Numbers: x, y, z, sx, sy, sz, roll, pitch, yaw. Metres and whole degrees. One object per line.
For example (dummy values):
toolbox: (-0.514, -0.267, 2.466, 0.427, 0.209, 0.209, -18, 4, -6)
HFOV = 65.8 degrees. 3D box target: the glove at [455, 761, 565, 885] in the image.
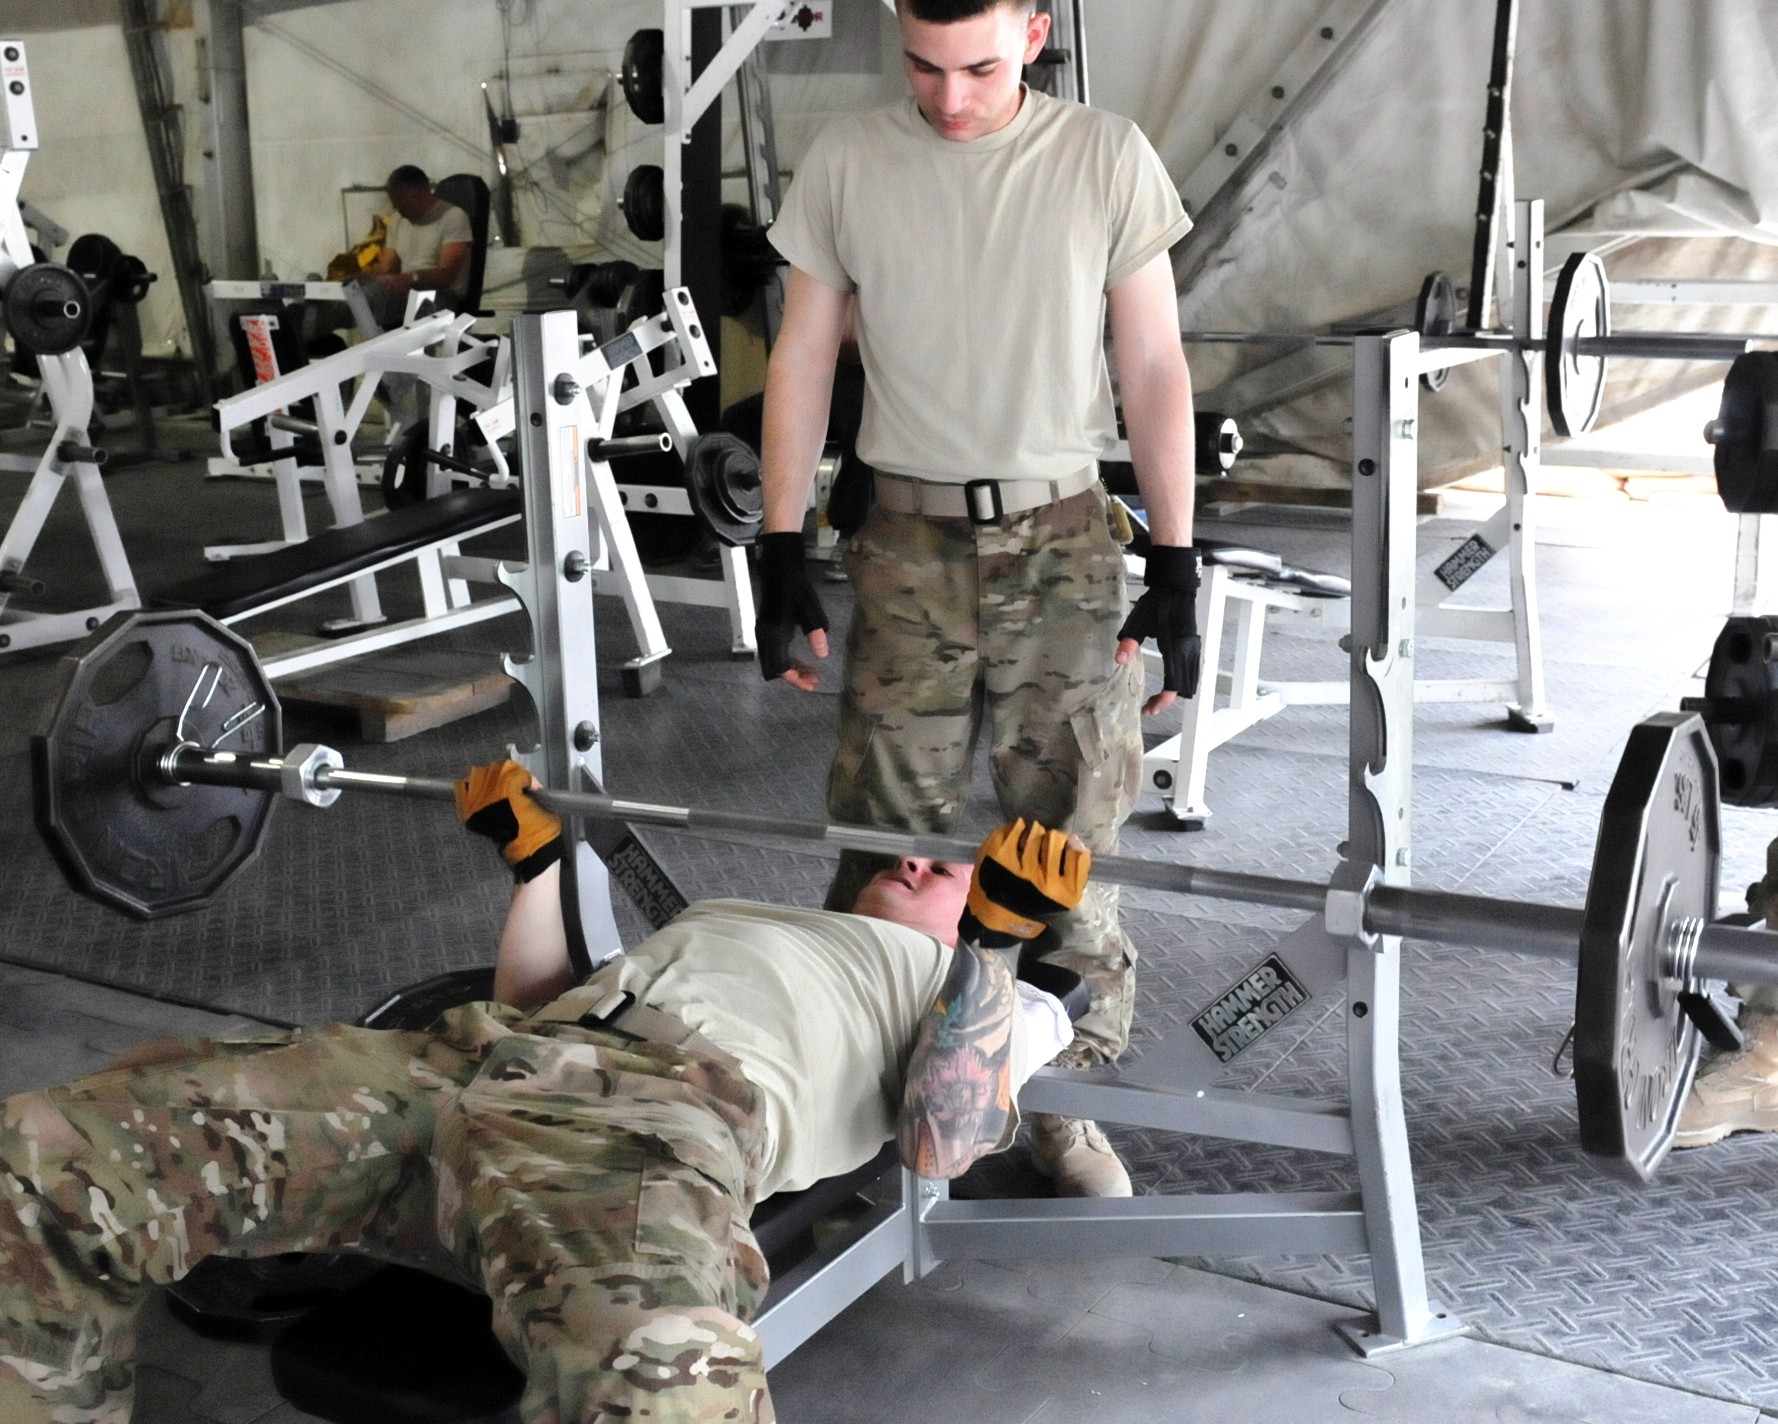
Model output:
glove: (-0.466, 0.120, 1.752, 0.121, 0.151, 0.133, 11, 19, 30)

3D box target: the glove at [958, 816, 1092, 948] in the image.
glove: (0.136, 0.164, 1.451, 0.145, 0.106, 0.199, 2, 20, 7)

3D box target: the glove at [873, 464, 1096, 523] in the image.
glove: (0.129, -0.288, 1.812, 0.294, 0.072, 0.087, 1, 14, 5)
